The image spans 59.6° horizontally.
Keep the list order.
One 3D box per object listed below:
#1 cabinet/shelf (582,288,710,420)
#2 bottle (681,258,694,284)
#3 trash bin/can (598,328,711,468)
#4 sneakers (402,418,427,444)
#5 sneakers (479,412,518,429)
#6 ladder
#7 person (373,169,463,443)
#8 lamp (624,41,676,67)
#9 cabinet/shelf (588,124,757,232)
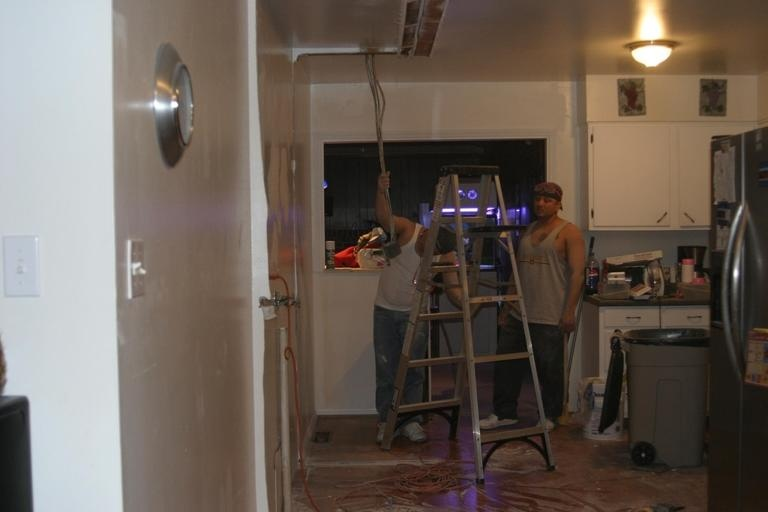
[{"bbox_3d":[2.014,0.733,5.428,0.948,0.990,0.668,0,-7,2],"label":"cabinet/shelf"},{"bbox_3d":[2.531,0.114,5.585,0.106,0.193,0.144,1,7,17],"label":"bottle"},{"bbox_3d":[1.900,0.901,4.684,0.757,0.890,0.606,-4,9,14],"label":"trash bin/can"},{"bbox_3d":[0.209,1.255,4.874,0.099,0.092,0.205,-3,-3,-23],"label":"sneakers"},{"bbox_3d":[0.839,1.245,5.127,0.367,0.145,0.136,4,-5,-19],"label":"sneakers"},{"bbox_3d":[0.533,0.395,4.758,1.171,2.039,1.445,-3,7,-13],"label":"ladder"},{"bbox_3d":[0.227,0.403,4.803,0.723,2.023,0.627,5,11,-5],"label":"person"},{"bbox_3d":[1.898,-1.440,4.762,0.406,0.150,0.302,-1,8,1],"label":"lamp"},{"bbox_3d":[2.343,-0.584,5.567,1.262,0.951,0.454,3,-14,10],"label":"cabinet/shelf"}]
